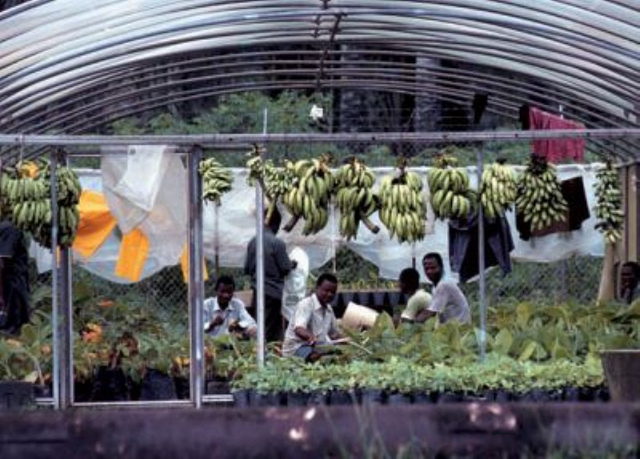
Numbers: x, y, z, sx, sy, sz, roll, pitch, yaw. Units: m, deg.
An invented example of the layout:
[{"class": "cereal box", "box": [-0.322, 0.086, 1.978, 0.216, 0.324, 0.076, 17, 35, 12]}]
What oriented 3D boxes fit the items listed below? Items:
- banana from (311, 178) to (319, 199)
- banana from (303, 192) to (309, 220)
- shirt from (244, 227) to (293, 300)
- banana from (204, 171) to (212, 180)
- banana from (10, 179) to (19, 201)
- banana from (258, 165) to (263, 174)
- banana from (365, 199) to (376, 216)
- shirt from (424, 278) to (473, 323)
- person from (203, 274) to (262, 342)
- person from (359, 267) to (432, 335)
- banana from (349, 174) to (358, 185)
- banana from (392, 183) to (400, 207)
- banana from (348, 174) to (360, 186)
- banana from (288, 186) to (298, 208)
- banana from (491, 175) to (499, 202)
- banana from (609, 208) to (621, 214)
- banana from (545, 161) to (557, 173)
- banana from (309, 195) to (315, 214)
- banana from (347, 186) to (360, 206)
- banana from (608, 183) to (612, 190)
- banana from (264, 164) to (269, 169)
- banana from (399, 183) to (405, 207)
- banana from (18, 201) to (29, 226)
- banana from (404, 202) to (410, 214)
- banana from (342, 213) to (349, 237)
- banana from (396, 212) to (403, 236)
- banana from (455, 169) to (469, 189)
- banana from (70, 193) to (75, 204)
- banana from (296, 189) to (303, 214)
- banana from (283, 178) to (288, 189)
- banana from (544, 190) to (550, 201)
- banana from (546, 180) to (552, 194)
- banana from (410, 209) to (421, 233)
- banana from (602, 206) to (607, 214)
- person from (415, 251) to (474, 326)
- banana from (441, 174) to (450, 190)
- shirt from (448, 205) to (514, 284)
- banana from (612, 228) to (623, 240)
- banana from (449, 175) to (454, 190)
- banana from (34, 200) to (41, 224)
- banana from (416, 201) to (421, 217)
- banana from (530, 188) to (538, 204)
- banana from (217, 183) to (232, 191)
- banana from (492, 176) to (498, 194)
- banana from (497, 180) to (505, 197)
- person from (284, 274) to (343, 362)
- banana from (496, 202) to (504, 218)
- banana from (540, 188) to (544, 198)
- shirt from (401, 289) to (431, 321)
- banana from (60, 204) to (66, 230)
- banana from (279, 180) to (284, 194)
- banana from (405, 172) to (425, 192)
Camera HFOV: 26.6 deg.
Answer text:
[{"class": "banana", "box": [-0.049, -0.421, 13.412, 0.046, 0.192, 0.064, -3, -7, -2]}, {"class": "banana", "box": [-0.145, -0.241, 13.375, 0.047, 0.224, 0.060, 4, -4, -35]}, {"class": "shirt", "box": [-0.638, 0.378, 15.342, 0.586, 0.803, 0.668, -4, -8, 15]}, {"class": "banana", "box": [-1.137, -0.559, 13.725, 0.070, 0.040, 0.059, 40, 4, 12]}, {"class": "banana", "box": [-3.234, -0.420, 14.303, 0.066, 0.249, 0.060, 0, -10, 37]}, {"class": "banana", "box": [-0.602, -0.620, 13.633, 0.043, 0.066, 0.022, 1, -2, 15]}, {"class": "banana", "box": [0.513, -0.229, 13.495, 0.087, 0.158, 0.036, 22, 1, -27]}, {"class": "shirt", "box": [1.372, 0.766, 14.460, 0.426, 0.502, 0.423, -4, 5, 11]}, {"class": "person", "box": [-1.059, 1.002, 15.638, 0.520, 0.761, 0.509, 3, 23, 4]}, {"class": "person", "box": [0.992, 0.795, 14.908, 0.725, 0.803, 0.473, 2, 22, 23]}, {"class": "banana", "box": [0.338, -0.505, 13.439, 0.036, 0.132, 0.042, 34, -11, -30]}, {"class": "banana", "box": [0.754, -0.356, 13.409, 0.057, 0.205, 0.063, 22, -25, -19]}, {"class": "banana", "box": [0.346, -0.496, 13.455, 0.045, 0.152, 0.044, 41, 3, 6]}, {"class": "banana", "box": [-0.279, -0.323, 13.371, 0.065, 0.218, 0.060, 16, -1, -42]}, {"class": "banana", "box": [1.773, -0.438, 13.686, 0.065, 0.240, 0.064, 4, -6, -44]}, {"class": "banana", "box": [3.523, -0.233, 16.084, 0.125, 0.074, 0.052, -1, -8, -4]}, {"class": "banana", "box": [2.412, -0.664, 14.100, 0.097, 0.131, 0.050, -25, -19, -33]}, {"class": "banana", "box": [-0.080, -0.261, 13.381, 0.051, 0.174, 0.032, -1, -8, 0]}, {"class": "banana", "box": [0.324, -0.347, 13.458, 0.096, 0.178, 0.049, 29, -6, 2]}, {"class": "banana", "box": [3.456, -0.530, 16.047, 0.045, 0.066, 0.026, -2, -8, 6]}, {"class": "banana", "box": [-0.534, -0.646, 13.593, 0.046, 0.048, 0.005, -6, -9, 31]}, {"class": "banana", "box": [0.813, -0.351, 13.396, 0.054, 0.184, 0.052, 10, -16, -43]}, {"class": "banana", "box": [-3.146, -0.177, 14.349, 0.064, 0.273, 0.076, -3, -18, 34]}, {"class": "banana", "box": [0.878, -0.223, 13.418, 0.026, 0.101, 0.027, -6, 7, -11]}, {"class": "banana", "box": [0.250, -0.055, 13.438, 0.066, 0.228, 0.052, 16, -3, -21]}, {"class": "banana", "box": [0.789, -0.068, 13.384, 0.057, 0.194, 0.058, -4, -14, -5]}, {"class": "banana", "box": [1.461, -0.530, 13.727, 0.062, 0.170, 0.124, -21, 14, 17]}, {"class": "banana", "box": [-2.596, -0.341, 14.158, 0.055, 0.083, 0.023, 1, 16, -29]}, {"class": "banana", "box": [-0.203, -0.277, 13.364, 0.049, 0.190, 0.060, -5, -8, 26]}, {"class": "banana", "box": [-0.345, -0.473, 13.472, 0.044, 0.105, 0.031, -2, -8, 2]}, {"class": "banana", "box": [2.364, -0.375, 14.042, 0.071, 0.101, 0.023, -6, 7, 10]}, {"class": "banana", "box": [2.384, -0.450, 14.023, 0.034, 0.128, 0.029, 3, -29, -4]}, {"class": "banana", "box": [0.955, -0.099, 13.470, 0.063, 0.284, 0.053, -13, -8, 18]}, {"class": "banana", "box": [3.401, -0.245, 16.101, 0.040, 0.086, 0.027, 10, 4, -11]}, {"class": "person", "box": [1.299, 0.601, 14.427, 0.582, 0.833, 0.964, -2, -8, 4]}, {"class": "banana", "box": [1.273, -0.485, 13.594, 0.041, 0.124, 0.070, 15, -16, -17]}, {"class": "shirt", "box": [1.718, 0.116, 14.712, 0.731, 0.311, 1.047, -7, -44, 19]}, {"class": "banana", "box": [3.582, 0.038, 16.231, 0.034, 0.136, 0.037, -28, 14, 16]}, {"class": "banana", "box": [1.328, -0.485, 13.633, 0.038, 0.130, 0.074, -2, -8, 4]}, {"class": "banana", "box": [-3.013, -0.199, 14.366, 0.056, 0.235, 0.054, 7, -5, -44]}, {"class": "banana", "box": [0.984, -0.211, 13.495, 0.033, 0.139, 0.042, -1, 0, -38]}, {"class": "banana", "box": [2.231, -0.353, 14.072, 0.030, 0.110, 0.082, 16, -8, -19]}, {"class": "banana", "box": [-0.949, -0.442, 13.676, 0.083, 0.080, 0.198, -9, -10, 43]}, {"class": "banana", "box": [1.773, -0.461, 13.678, 0.040, 0.169, 0.039, 6, -5, -33]}, {"class": "banana", "box": [1.839, -0.428, 13.684, 0.069, 0.151, 0.047, 0, -4, -4]}, {"class": "person", "box": [-0.066, 0.839, 13.673, 0.604, 0.866, 0.859, -1, -8, -2]}, {"class": "banana", "box": [1.831, -0.220, 13.770, 0.055, 0.164, 0.046, -19, 8, 44]}, {"class": "banana", "box": [2.310, -0.398, 14.037, 0.051, 0.095, 0.027, 2, -2, 11]}, {"class": "shirt", "box": [1.056, 0.823, 14.787, 0.163, 0.270, 0.321, 27, 15, 18]}, {"class": "banana", "box": [-2.691, -0.148, 14.115, 0.060, 0.259, 0.043, 1, -8, -18]}, {"class": "banana", "box": [-0.382, -0.439, 13.468, 0.054, 0.101, 0.021, -3, -1, 36]}, {"class": "banana", "box": [0.958, -0.481, 13.613, 0.071, 0.139, 0.214, -13, -11, 18]}]
